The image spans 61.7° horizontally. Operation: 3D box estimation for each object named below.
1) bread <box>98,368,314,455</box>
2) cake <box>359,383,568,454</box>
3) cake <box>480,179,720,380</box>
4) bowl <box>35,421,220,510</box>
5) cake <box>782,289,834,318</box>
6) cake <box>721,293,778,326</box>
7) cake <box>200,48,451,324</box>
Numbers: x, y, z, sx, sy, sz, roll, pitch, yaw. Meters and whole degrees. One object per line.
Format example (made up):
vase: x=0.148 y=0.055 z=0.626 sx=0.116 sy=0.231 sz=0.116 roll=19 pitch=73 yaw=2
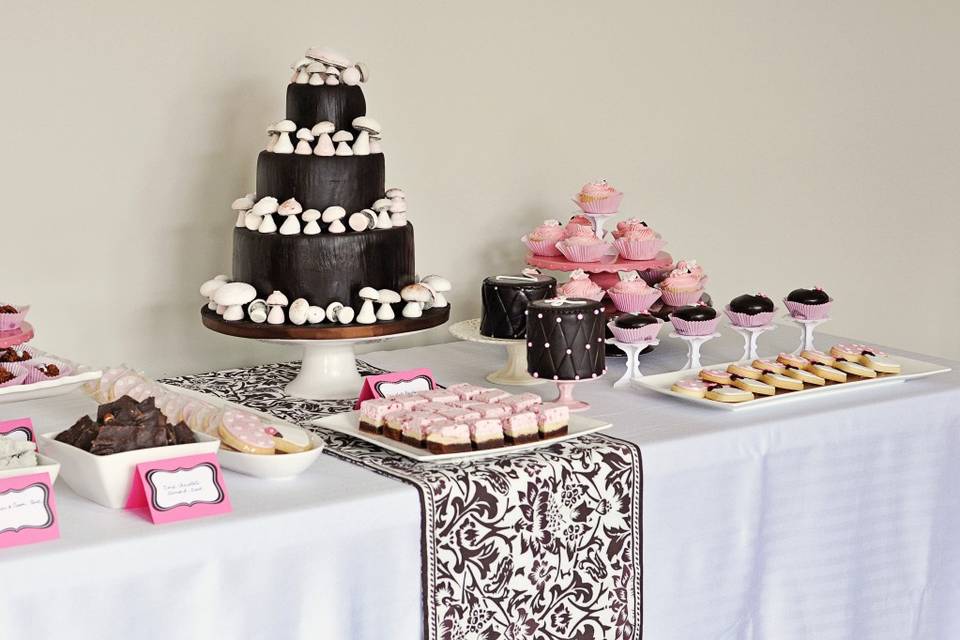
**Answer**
bread: x=-0.494 y=0.131 z=1.405 sx=0.492 sy=0.050 sz=0.154 roll=6 pitch=5 yaw=36
cake: x=-0.029 y=0.167 z=1.418 sx=0.266 sy=0.078 sz=0.219 roll=-4 pitch=8 yaw=-36
cake: x=0.236 y=-0.094 z=2.043 sx=0.701 sy=0.345 sz=0.568 roll=-1 pitch=6 yaw=-8
bowl: x=-0.526 y=0.202 z=1.172 sx=0.147 sy=0.050 sz=0.174 roll=-1 pitch=2 yaw=-40
cake: x=0.799 y=-0.034 z=1.960 sx=0.115 sy=0.051 sz=0.093 roll=0 pitch=-2 yaw=-5
cake: x=0.635 y=-0.023 z=1.903 sx=0.107 sy=0.047 sz=0.092 roll=-2 pitch=2 yaw=-27
cake: x=-0.296 y=-0.271 z=1.846 sx=0.733 sy=0.532 sz=0.608 roll=-2 pitch=7 yaw=-14
